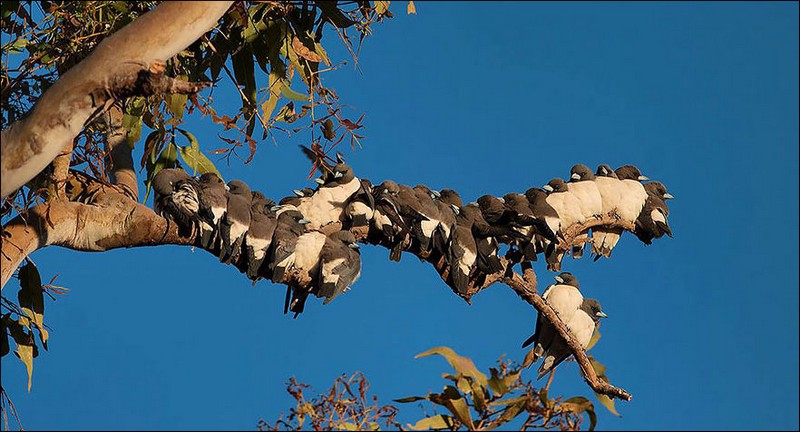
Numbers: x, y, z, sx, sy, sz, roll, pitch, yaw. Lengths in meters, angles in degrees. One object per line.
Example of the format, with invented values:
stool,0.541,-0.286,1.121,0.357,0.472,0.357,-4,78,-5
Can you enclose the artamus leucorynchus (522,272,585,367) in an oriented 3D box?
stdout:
artamus leucorynchus,1.395,0.939,16.098,0.495,0.548,0.870,16,-42,-7
